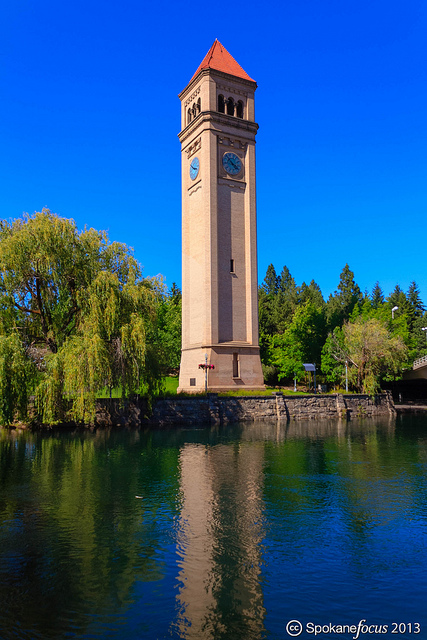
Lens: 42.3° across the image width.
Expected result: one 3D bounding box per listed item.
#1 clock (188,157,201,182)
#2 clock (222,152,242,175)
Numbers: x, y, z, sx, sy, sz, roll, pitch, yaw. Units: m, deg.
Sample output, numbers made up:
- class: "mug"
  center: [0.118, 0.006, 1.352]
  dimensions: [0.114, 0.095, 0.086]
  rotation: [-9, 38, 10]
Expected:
- class: "clock"
  center: [-1.713, -13.427, 48.991]
  dimensions: [0.649, 2.410, 2.135]
  rotation: [4, -18, -18]
- class: "clock"
  center: [1.507, -13.687, 48.255]
  dimensions: [1.826, 2.264, 0.133]
  rotation: [-2, -3, -27]
